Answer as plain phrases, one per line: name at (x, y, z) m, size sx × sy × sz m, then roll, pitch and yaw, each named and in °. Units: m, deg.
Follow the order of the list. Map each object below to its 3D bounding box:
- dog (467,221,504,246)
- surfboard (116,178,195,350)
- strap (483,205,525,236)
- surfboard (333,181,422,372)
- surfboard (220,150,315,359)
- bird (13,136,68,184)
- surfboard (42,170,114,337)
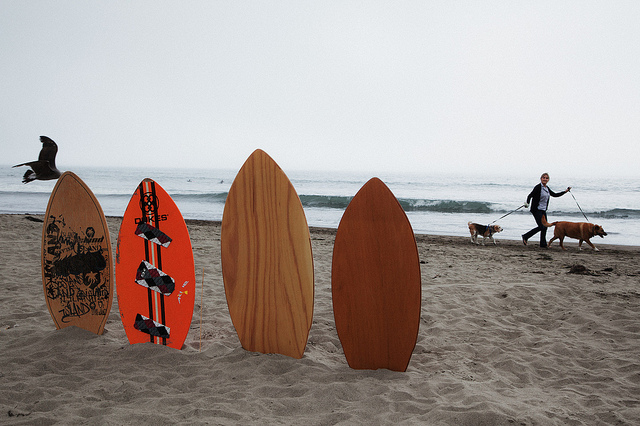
dog at (3.547, 0.454, 12.520) m, size 0.659 × 0.508 × 0.468 m, roll -1°, pitch 0°, yaw 24°
surfboard at (-1.861, 0.637, 6.431) m, size 0.835 × 0.376 × 2.504 m, roll 5°, pitch 44°, yaw -23°
strap at (5.418, 0.242, 17.090) m, size 0.306 × 0.089 × 1.127 m, roll 26°, pitch -41°, yaw -25°
surfboard at (0.580, 0.697, 6.071) m, size 0.917 × 2.454 × 0.178 m, roll -1°, pitch 25°, yaw 7°
surfboard at (-0.571, 0.446, 6.390) m, size 0.978 × 3.295 × 0.482 m, roll 5°, pitch 43°, yaw 3°
bird at (-4.861, -0.945, 10.132) m, size 0.589 × 0.787 × 1.317 m, roll -1°, pitch 0°, yaw -27°
surfboard at (-2.734, 0.457, 6.553) m, size 0.860 × 1.820 × 0.119 m, roll -1°, pitch 0°, yaw 10°
